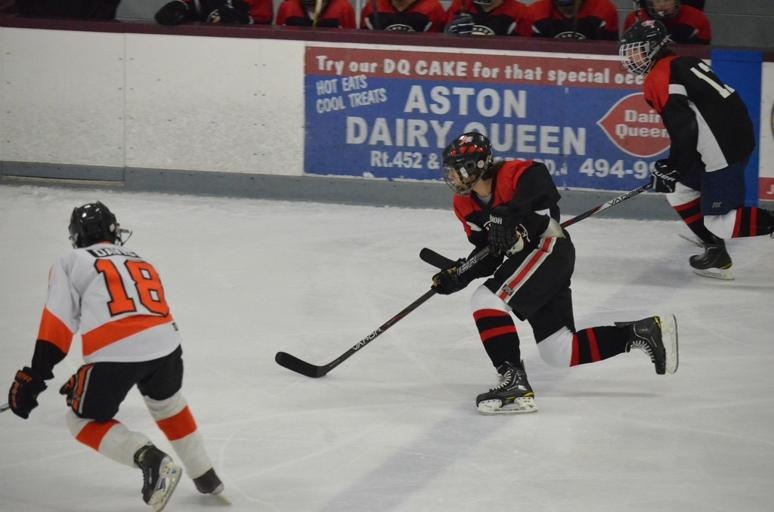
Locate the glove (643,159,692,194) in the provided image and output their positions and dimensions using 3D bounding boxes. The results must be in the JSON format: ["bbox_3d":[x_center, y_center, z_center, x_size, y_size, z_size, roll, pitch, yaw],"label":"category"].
[{"bbox_3d":[1.853,-0.506,6.279,0.220,0.248,0.198,-42,9,19],"label":"glove"}]

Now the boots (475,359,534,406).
[{"bbox_3d":[0.614,0.708,5.051,0.379,0.240,0.129,1,-10,-23],"label":"boots"}]

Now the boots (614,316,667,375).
[{"bbox_3d":[1.411,0.454,5.179,0.302,0.383,0.136,-11,7,7],"label":"boots"}]

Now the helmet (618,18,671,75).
[{"bbox_3d":[1.670,-1.371,6.142,0.388,0.325,0.288,-16,12,3],"label":"helmet"}]

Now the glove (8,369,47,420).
[{"bbox_3d":[-1.724,0.648,4.472,0.207,0.261,0.099,-3,9,-5],"label":"glove"}]

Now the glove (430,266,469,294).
[{"bbox_3d":[0.347,0.133,5.265,0.193,0.141,0.076,-12,-26,-6],"label":"glove"}]

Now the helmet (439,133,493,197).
[{"bbox_3d":[0.463,-0.523,5.202,0.345,0.305,0.267,-25,4,11],"label":"helmet"}]

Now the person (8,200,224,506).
[{"bbox_3d":[-1.319,0.472,4.428,0.759,1.409,0.641,5,11,42],"label":"person"}]
